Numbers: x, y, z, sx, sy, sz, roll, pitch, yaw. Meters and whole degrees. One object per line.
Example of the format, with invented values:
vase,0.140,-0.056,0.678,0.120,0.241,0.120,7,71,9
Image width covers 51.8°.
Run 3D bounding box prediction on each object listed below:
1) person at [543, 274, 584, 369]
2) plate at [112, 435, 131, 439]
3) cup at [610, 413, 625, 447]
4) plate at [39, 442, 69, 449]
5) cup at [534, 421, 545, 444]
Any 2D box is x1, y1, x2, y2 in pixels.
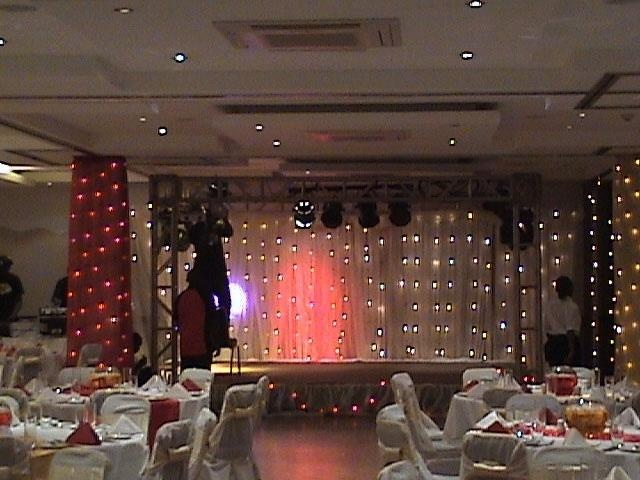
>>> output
person,3.883,1.324,10.599,0.555,1.447,0.484,-3,-8,27
plate,-1.649,1.641,5.476,0.135,0.028,0.129,5,-11,-21
cup,2.548,1.641,5.637,0.123,0.239,0.132,0,-11,0
plate,-1.964,1.520,4.875,0.158,0.041,0.206,1,-10,4
cup,1.801,1.592,5.424,0.105,0.211,0.121,-1,-3,16
